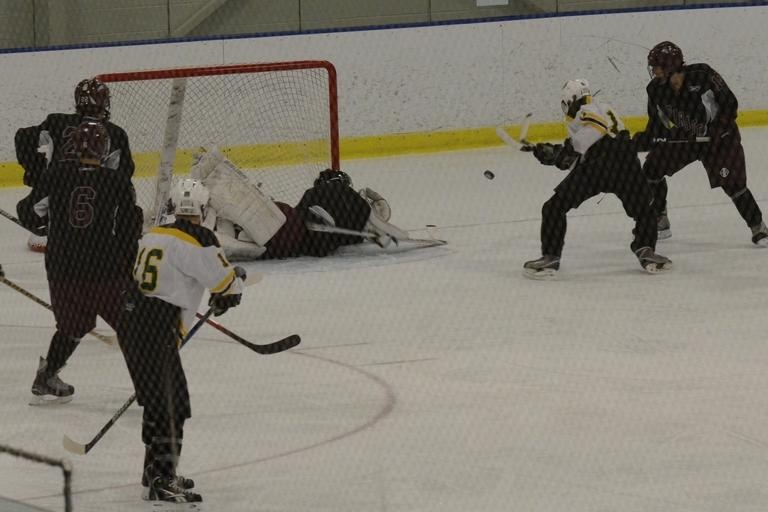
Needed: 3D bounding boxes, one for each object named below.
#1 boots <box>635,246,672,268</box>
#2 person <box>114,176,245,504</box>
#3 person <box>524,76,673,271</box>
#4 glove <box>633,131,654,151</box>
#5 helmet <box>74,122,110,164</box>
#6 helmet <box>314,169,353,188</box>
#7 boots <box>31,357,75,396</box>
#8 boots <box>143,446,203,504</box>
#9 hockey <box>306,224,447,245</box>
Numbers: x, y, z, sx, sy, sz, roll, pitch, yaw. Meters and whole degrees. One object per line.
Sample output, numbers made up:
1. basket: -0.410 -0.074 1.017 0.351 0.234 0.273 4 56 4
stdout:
1. boots: 1.494 0.009 5.109 0.271 0.072 0.096 12 3 16
2. person: -0.738 0.375 3.357 0.468 1.009 0.408 -3 8 -14
3. person: 1.237 -0.481 5.253 0.810 1.111 0.577 0 8 10
4. glove: 1.486 -0.667 5.212 0.156 0.118 0.035 -3 8 -22
5. helmet: -1.292 -0.498 3.979 0.166 0.165 0.189 3 4 -23
6. helmet: -0.328 -0.523 5.965 0.194 0.130 0.187 -5 3 -15
7. boots: -1.492 0.553 4.042 0.092 0.170 0.205 -9 -20 40
8. boots: -0.711 0.831 3.353 0.343 0.189 0.112 1 -4 -3
9. hockey: -0.047 -0.145 5.849 0.889 0.157 0.196 -2 8 -8
